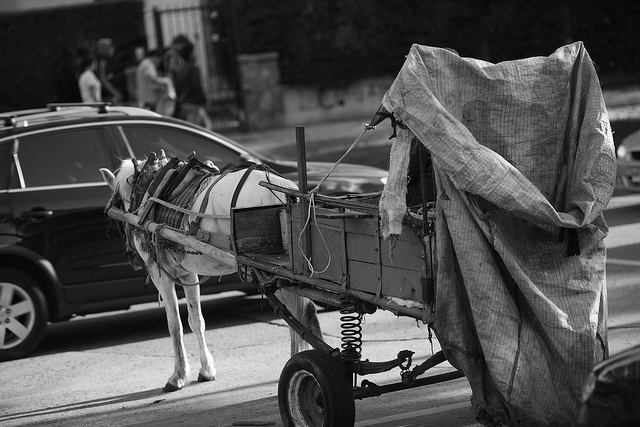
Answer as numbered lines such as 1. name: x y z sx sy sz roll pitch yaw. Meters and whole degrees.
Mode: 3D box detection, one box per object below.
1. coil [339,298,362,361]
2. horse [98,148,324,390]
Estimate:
1. coil: 0.308 1.207 9.703 0.244 0.602 0.217 0 16 3
2. horse: -1.293 0.542 11.333 1.018 2.850 3.833 -5 -4 -44
